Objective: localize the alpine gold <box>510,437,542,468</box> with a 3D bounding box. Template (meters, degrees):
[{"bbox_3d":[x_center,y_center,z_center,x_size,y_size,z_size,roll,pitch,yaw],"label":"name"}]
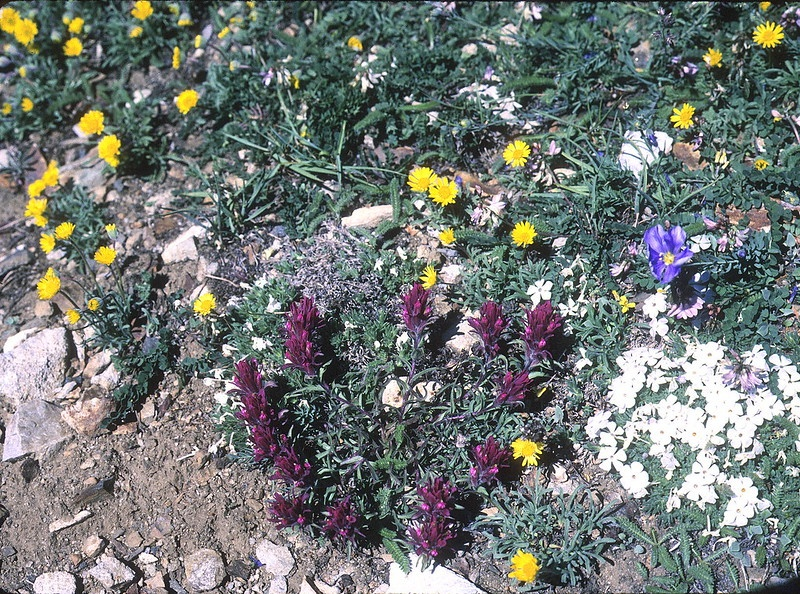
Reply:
[{"bbox_3d":[0.965,1.158,5.104,0.219,0.239,0.089,-7,9,36],"label":"alpine gold"}]

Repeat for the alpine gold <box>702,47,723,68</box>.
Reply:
[{"bbox_3d":[2.662,-2.024,5.880,0.067,0.200,0.185,-4,9,-40],"label":"alpine gold"}]

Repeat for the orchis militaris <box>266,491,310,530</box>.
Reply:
[{"bbox_3d":[-0.799,1.534,5.005,0.279,0.187,0.302,8,70,-12],"label":"orchis militaris"}]

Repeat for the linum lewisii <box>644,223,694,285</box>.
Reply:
[{"bbox_3d":[1.940,-0.334,5.032,0.303,0.158,0.438,-7,74,34],"label":"linum lewisii"}]
